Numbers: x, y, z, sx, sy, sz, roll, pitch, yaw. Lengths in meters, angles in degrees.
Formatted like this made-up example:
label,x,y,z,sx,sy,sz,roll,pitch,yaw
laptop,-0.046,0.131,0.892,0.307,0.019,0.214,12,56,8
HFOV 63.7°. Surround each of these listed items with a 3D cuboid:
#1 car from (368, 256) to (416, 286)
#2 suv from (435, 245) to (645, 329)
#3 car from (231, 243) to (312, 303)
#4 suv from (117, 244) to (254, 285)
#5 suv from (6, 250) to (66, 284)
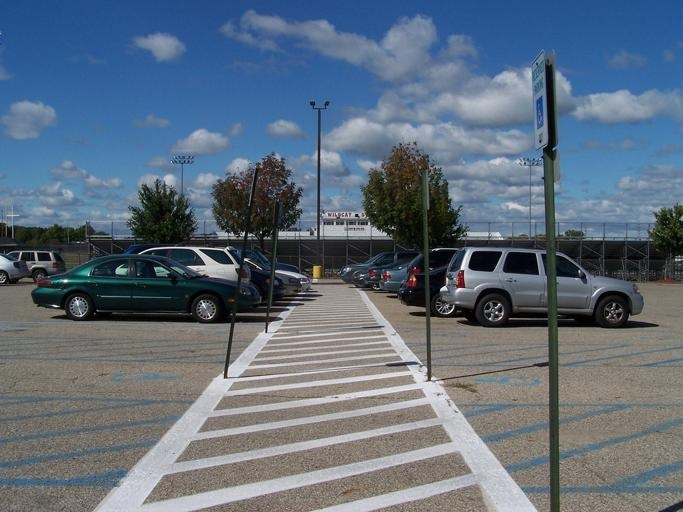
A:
label,x,y,z,sx,sy,sz,roll,pitch,yaw
car,2.349,0.647,23.934,2.225,0.730,1.023,-4,3,-8
suv,4.975,0.757,14.017,4.818,1.853,2.229,-1,-1,-2
car,-2.116,0.693,19.190,3.232,1.089,1.487,1,2,6
suv,-4.725,0.198,17.889,3.740,1.339,1.705,3,-3,-2
suv,-15.613,0.575,27.947,2.882,1.265,1.600,5,-1,-8
